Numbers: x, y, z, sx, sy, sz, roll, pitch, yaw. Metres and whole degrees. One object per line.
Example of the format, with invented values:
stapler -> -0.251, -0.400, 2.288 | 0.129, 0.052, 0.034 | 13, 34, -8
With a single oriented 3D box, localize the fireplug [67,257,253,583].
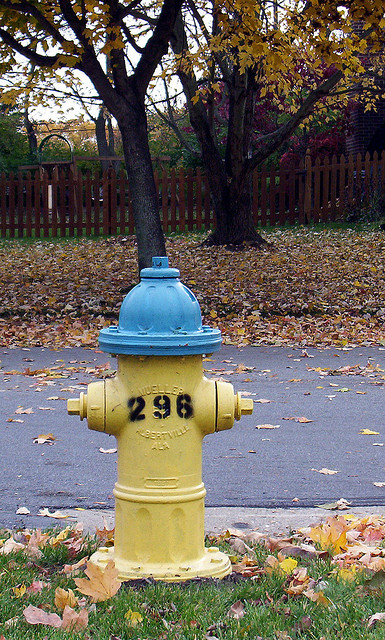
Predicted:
fireplug -> -0.198, 0.611, 9.274 | 0.998, 1.936, 0.585 | -2, 11, -4
